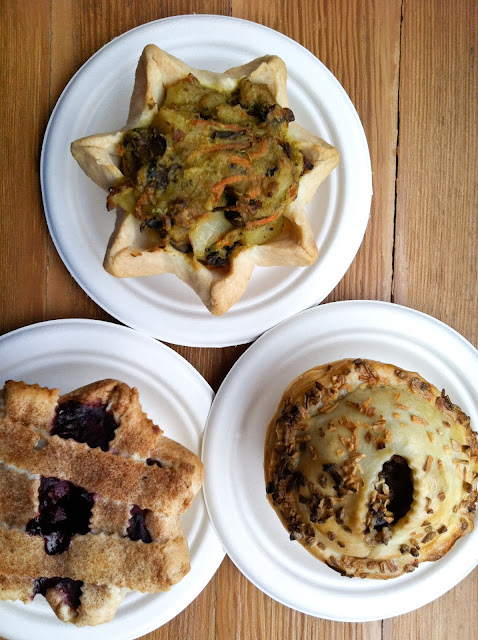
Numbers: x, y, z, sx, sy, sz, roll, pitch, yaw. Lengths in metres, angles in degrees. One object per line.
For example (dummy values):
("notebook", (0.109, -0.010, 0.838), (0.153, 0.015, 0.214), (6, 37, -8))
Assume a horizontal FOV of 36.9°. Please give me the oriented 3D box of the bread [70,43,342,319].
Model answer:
("bread", (-0.077, -0.274, 1.375), (0.615, 0.172, 0.501), (-16, 102, -14))
